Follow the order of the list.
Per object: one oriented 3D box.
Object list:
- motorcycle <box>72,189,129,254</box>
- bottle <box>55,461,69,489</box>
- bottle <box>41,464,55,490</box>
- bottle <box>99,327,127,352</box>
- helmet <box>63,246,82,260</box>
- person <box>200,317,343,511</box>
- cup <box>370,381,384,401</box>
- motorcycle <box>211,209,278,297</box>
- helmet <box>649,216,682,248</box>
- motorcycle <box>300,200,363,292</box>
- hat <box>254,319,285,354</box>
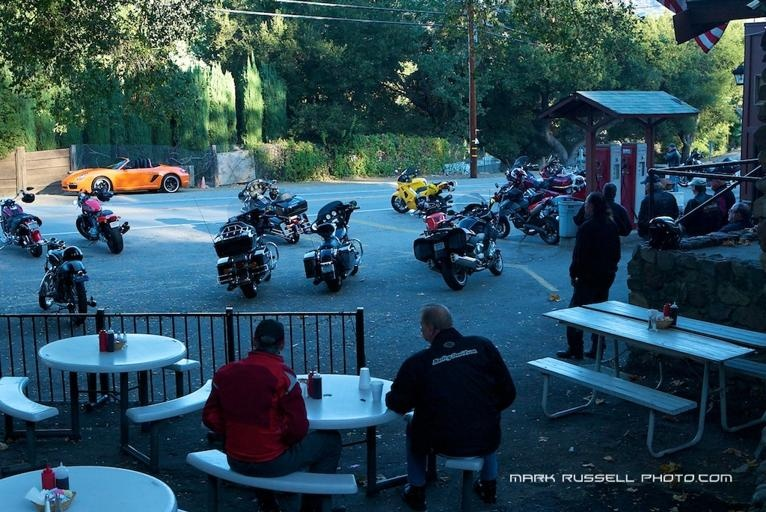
[{"bbox_3d":[-7.243,-0.804,19.952,0.986,1.372,2.121,-22,38,-38],"label":"motorcycle"},{"bbox_3d":[-3.006,2.077,7.299,0.110,0.218,0.132,-7,9,-20],"label":"bottle"},{"bbox_3d":[-3.132,2.079,7.306,0.120,0.183,0.199,-8,9,-28],"label":"bottle"},{"bbox_3d":[-3.370,1.049,9.731,0.338,0.259,0.224,-2,8,-22],"label":"bottle"},{"bbox_3d":[-5.575,-0.054,14.067,0.263,0.309,0.272,-8,5,-10],"label":"helmet"},{"bbox_3d":[-1.185,1.548,8.027,1.320,1.749,0.362,-6,8,-14],"label":"person"},{"bbox_3d":[-0.070,1.489,8.616,0.165,0.175,0.167,0,8,0],"label":"cup"},{"bbox_3d":[-2.741,0.041,15.493,1.080,1.507,1.134,-5,8,-9],"label":"motorcycle"},{"bbox_3d":[4.179,-0.393,11.692,0.474,0.492,0.382,7,5,-4],"label":"helmet"},{"bbox_3d":[-0.909,-0.330,16.020,0.893,1.227,2.140,-14,21,15],"label":"motorcycle"},{"bbox_3d":[-1.118,0.819,8.179,0.409,0.313,0.656,7,-2,-6],"label":"hat"}]
